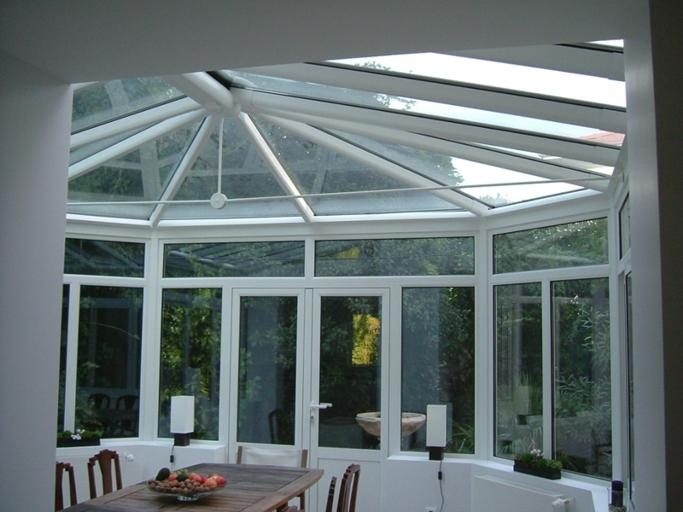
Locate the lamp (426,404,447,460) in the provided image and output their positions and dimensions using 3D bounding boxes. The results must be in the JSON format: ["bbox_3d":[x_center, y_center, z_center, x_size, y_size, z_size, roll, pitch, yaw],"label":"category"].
[{"bbox_3d":[0.987,1.794,7.143,0.207,0.551,0.211,2,-7,-1],"label":"lamp"}]

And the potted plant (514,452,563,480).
[{"bbox_3d":[1.817,1.919,6.410,0.172,0.223,0.439,-2,-2,-38],"label":"potted plant"}]

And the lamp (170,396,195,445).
[{"bbox_3d":[-1.778,1.851,7.851,0.300,0.431,0.292,-2,-1,-26],"label":"lamp"}]

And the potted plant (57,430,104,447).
[{"bbox_3d":[-2.853,1.972,7.540,0.420,0.192,0.218,-2,-2,-21],"label":"potted plant"}]
